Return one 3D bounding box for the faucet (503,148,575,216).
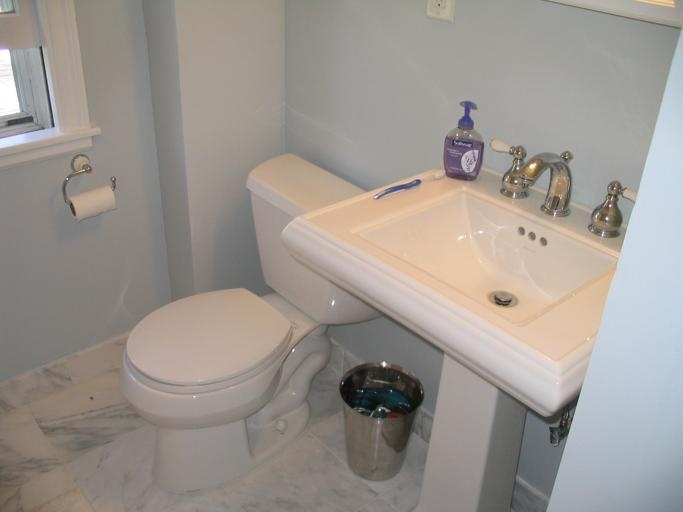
[{"bbox_3d":[0.474,-0.161,1.200,0.219,0.152,0.073,-19,30,-38],"label":"faucet"}]

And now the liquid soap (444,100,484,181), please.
[{"bbox_3d":[0.333,-0.308,1.377,0.099,0.202,0.085,14,31,18],"label":"liquid soap"}]

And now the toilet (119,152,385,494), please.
[{"bbox_3d":[-0.323,0.243,1.745,0.819,0.897,0.524,-19,36,-33],"label":"toilet"}]

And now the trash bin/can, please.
[{"bbox_3d":[0.139,0.562,1.754,0.234,0.256,0.236,-23,39,-30],"label":"trash bin/can"}]

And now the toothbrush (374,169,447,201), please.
[{"bbox_3d":[0.198,-0.195,1.419,0.258,0.041,0.029,-27,36,-24],"label":"toothbrush"}]
